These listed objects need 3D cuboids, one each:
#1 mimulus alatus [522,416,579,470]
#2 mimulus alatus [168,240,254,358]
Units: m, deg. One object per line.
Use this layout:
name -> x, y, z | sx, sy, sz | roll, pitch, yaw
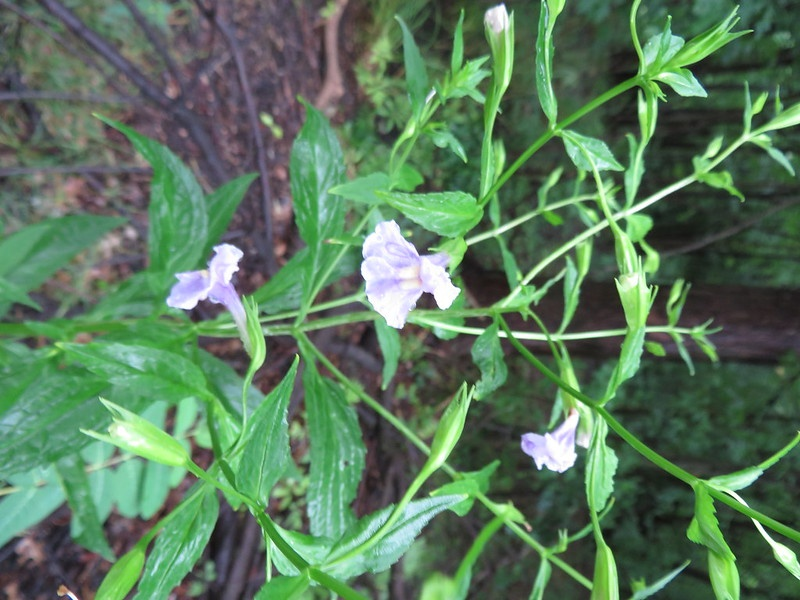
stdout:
mimulus alatus -> 0.387, 0.374, 1.775 | 0.083, 0.062, 0.127 | 26, 20, 27
mimulus alatus -> -0.454, 0.005, 1.681 | 0.246, 0.110, 0.188 | 17, 24, 0
